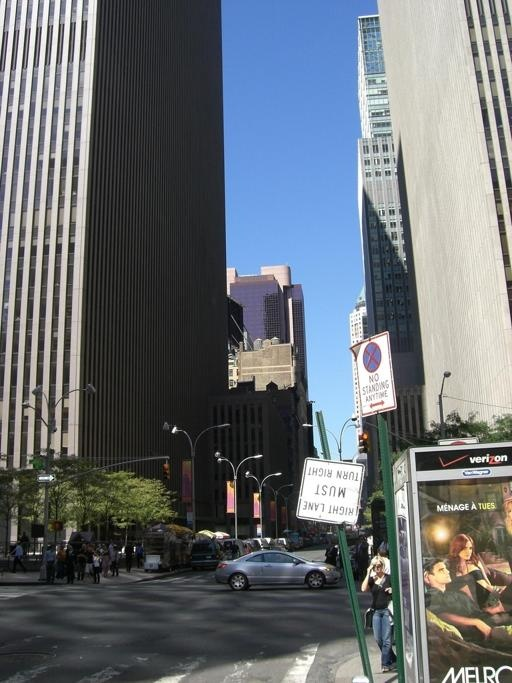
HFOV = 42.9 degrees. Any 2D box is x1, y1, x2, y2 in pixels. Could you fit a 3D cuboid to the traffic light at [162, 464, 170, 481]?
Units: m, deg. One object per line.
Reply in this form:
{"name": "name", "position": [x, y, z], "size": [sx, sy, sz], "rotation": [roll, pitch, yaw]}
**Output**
{"name": "traffic light", "position": [-5.344, 7.734, 38.816], "size": [0.342, 0.859, 0.584], "rotation": [-2, -8, 1]}

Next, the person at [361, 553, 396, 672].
{"name": "person", "position": [1.643, 3.686, 8.749], "size": [0.381, 1.517, 1.340], "rotation": [-4, -8, 10]}

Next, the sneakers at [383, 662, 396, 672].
{"name": "sneakers", "position": [1.797, 4.377, 8.774], "size": [0.105, 0.142, 0.321], "rotation": [-9, -30, 17]}
